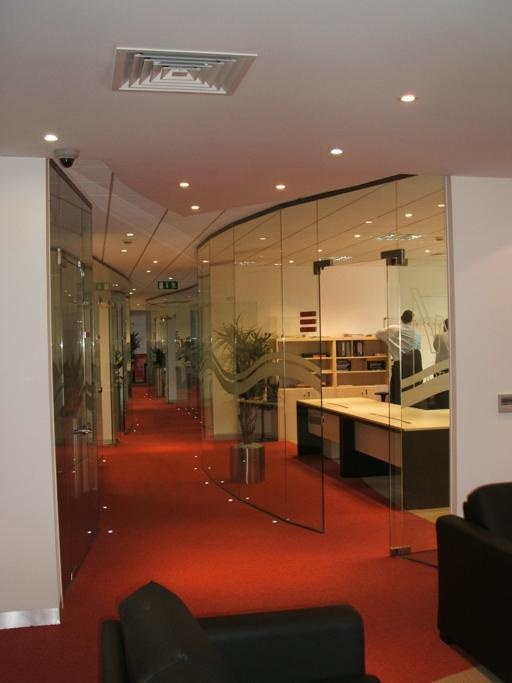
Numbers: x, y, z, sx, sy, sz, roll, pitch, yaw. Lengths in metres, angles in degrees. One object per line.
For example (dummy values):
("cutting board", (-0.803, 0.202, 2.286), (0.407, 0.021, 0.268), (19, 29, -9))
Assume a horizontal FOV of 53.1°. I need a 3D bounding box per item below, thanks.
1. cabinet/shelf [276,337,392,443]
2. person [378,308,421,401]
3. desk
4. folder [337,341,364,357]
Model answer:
("cabinet/shelf", (1.070, 0.683, 6.851), (1.733, 1.561, 0.519), (-1, 0, -16))
("person", (1.249, 0.143, 4.469), (0.192, 0.807, 0.421), (-2, 0, -15))
("desk", (1.204, 1.181, 5.305), (0.476, 0.443, 1.478), (-2, 4, -16))
("folder", (1.880, 0.144, 10.216), (0.610, 0.435, 0.305), (0, -4, -6))
